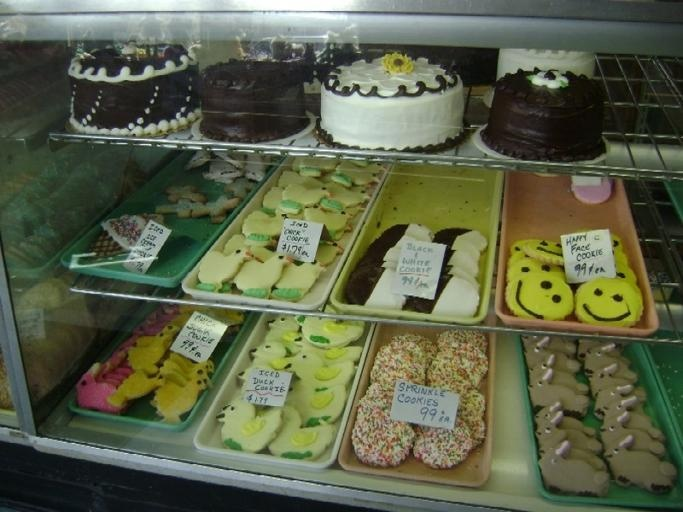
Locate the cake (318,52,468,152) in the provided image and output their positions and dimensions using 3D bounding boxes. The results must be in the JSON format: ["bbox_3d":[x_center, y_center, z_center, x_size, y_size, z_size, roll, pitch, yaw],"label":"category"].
[{"bbox_3d":[0.148,-0.473,1.548,0.444,0.258,0.226,-4,38,0],"label":"cake"}]

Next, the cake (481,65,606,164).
[{"bbox_3d":[0.551,-0.398,1.545,0.346,0.185,0.329,19,36,30],"label":"cake"}]

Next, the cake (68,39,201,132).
[{"bbox_3d":[-0.630,-0.547,1.686,0.333,0.172,0.332,26,37,37],"label":"cake"}]

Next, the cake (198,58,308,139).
[{"bbox_3d":[-0.253,-0.494,1.639,0.289,0.153,0.287,-25,40,-37],"label":"cake"}]
